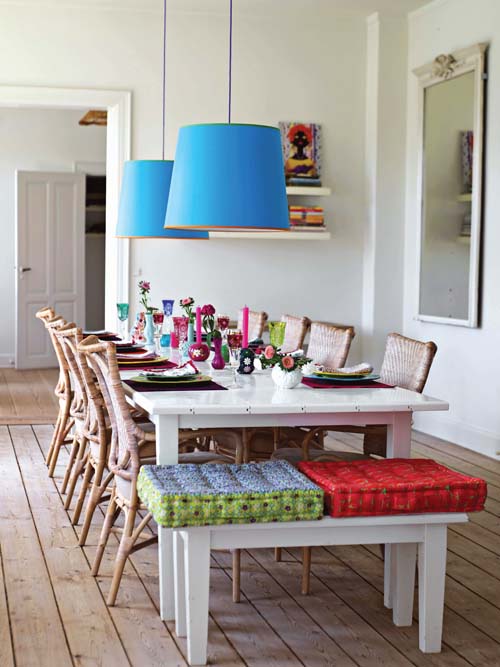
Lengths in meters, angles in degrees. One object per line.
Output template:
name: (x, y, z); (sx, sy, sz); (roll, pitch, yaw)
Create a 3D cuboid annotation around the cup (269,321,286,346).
cup: (0.099, 0.008, 2.234); (0.059, 0.100, 0.177); (1, -3, 2)

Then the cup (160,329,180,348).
cup: (-0.435, 0.039, 3.188); (0.116, 0.091, 0.074); (3, -2, -11)

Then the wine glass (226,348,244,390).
wine glass: (-0.054, 0.129, 2.209); (0.063, 0.141, 0.061); (5, -4, -37)

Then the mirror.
mirror: (1.487, -1.091, 4.513); (0.286, 2.104, 0.984); (2, -2, -7)

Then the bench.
bench: (0.159, 0.634, 1.557); (0.781, 0.407, 0.477); (2, -3, -10)

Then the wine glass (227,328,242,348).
wine glass: (-0.058, 0.024, 2.274); (0.059, 0.066, 0.059); (3, 4, 18)

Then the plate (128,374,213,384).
plate: (-0.282, 0.160, 2.066); (0.276, 0.031, 0.156); (2, -3, -13)
